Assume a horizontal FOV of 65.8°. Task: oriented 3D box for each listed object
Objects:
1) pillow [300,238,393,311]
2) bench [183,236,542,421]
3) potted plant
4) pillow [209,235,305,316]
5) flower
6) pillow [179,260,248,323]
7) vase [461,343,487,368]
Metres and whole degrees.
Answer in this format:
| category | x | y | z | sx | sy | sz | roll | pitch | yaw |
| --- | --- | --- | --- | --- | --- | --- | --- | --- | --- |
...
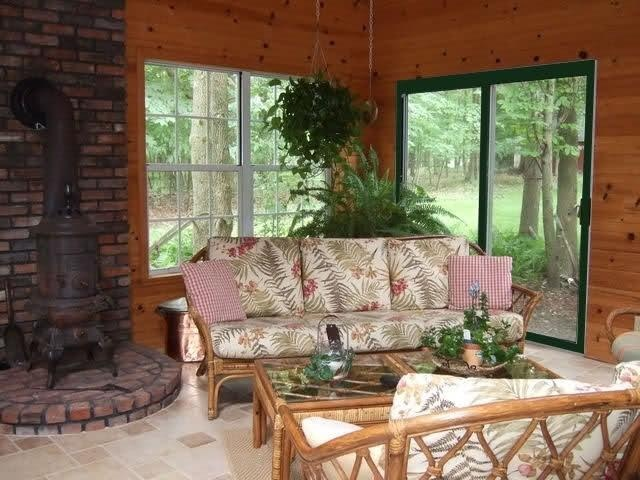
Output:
| category | x | y | z | sx | sy | sz | roll | pitch | yaw |
| --- | --- | --- | --- | --- | --- | --- | --- | --- | --- |
| pillow | 0.194 | 0.262 | 3.844 | 0.731 | 0.557 | 0.171 | -4 | 2 | -12 |
| bench | 0.294 | 0.588 | 3.860 | 2.647 | 0.966 | 0.856 | -1 | 11 | -12 |
| potted plant | -0.053 | -0.914 | 3.633 | 0.538 | 0.520 | 0.472 | 13 | 13 | -26 |
| pillow | -0.429 | 0.270 | 3.794 | 0.717 | 0.603 | 0.167 | -4 | -6 | -20 |
| flower | 0.893 | 0.457 | 3.024 | 0.599 | 0.512 | 0.594 | 0 | -1 | 17 |
| pillow | -0.765 | 0.364 | 3.542 | 0.135 | 0.425 | 0.453 | -34 | -16 | 32 |
| vase | 0.871 | 0.649 | 2.791 | 0.122 | 0.089 | 0.111 | 1 | 4 | 15 |
